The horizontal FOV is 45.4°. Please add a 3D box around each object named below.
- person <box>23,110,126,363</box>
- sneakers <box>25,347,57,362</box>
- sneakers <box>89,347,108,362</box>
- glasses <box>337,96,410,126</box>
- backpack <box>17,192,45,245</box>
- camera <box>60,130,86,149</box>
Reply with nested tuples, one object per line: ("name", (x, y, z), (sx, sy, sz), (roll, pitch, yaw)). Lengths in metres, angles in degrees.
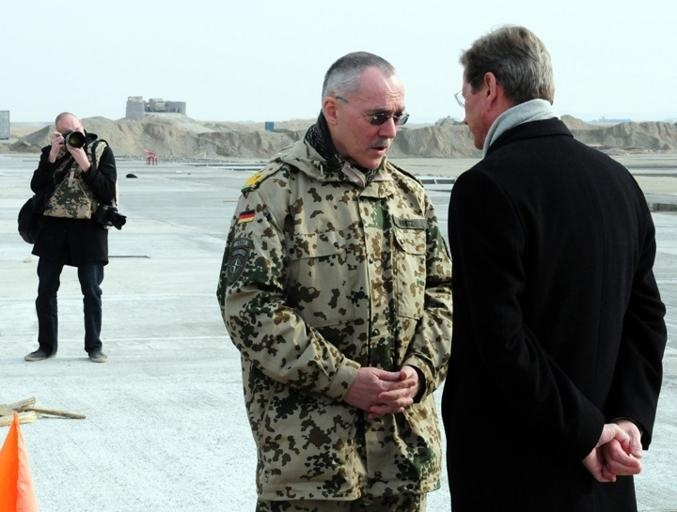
("person", (-2.201, -0.089, 6.694), (0.828, 1.896, 0.529), (-2, 10, -15))
("sneakers", (-2.461, 0.821, 6.695), (0.246, 0.096, 0.089), (4, 5, -28))
("sneakers", (-1.986, 0.835, 6.714), (0.070, 0.087, 0.203), (-1, -2, -43))
("glasses", (0.163, -0.605, 3.376), (0.323, 0.117, 0.142), (-5, 11, -32))
("backpack", (-2.498, -0.320, 6.750), (0.293, 0.393, 0.174), (-12, -22, 31))
("camera", (-2.138, -0.941, 6.545), (0.166, 0.137, 0.217), (-3, 10, -22))
